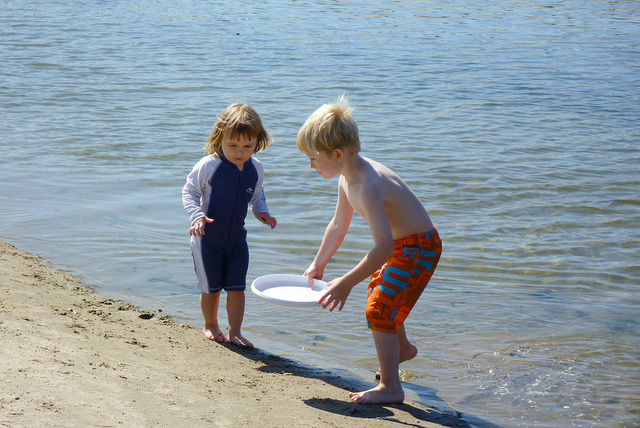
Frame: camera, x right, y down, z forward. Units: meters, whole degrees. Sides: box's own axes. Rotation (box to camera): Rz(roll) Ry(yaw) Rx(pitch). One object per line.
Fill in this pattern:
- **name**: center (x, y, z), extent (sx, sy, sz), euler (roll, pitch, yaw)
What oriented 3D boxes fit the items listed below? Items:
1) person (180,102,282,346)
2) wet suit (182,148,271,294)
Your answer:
- **person**: center (-1.094, 0.115, 12.329), extent (1.002, 2.734, 1.199), euler (4, 23, 2)
- **wet suit**: center (-1.157, 0.085, 12.322), extent (0.870, 1.659, 0.645), euler (1, 24, -3)
